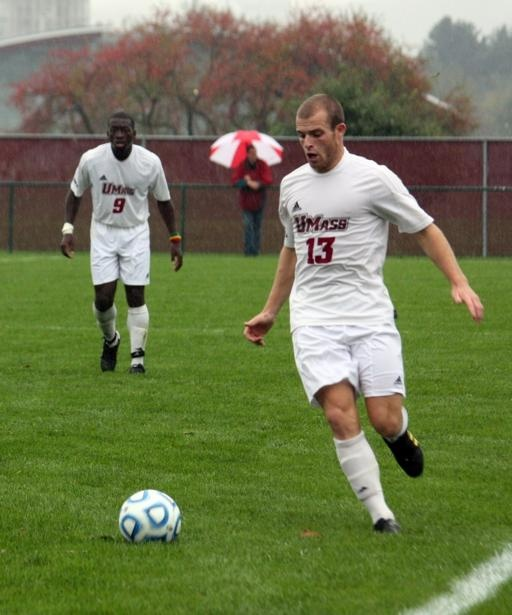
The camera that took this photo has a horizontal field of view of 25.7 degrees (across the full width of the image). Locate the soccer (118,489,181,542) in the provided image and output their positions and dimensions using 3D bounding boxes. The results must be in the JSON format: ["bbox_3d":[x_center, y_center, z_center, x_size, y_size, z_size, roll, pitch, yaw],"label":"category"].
[{"bbox_3d":[-0.422,0.807,4.457,0.183,0.208,0.194,-14,48,-28],"label":"soccer"}]

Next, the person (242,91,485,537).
[{"bbox_3d":[0.431,-0.020,4.880,0.613,1.778,1.067,-6,11,-37],"label":"person"}]

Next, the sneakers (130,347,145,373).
[{"bbox_3d":[-0.810,0.363,7.671,0.098,0.153,0.160,-1,9,-7],"label":"sneakers"}]

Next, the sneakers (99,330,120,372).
[{"bbox_3d":[-1.015,0.320,7.817,0.088,0.334,0.126,3,10,3],"label":"sneakers"}]

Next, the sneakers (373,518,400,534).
[{"bbox_3d":[0.517,0.879,4.526,0.102,0.044,0.085,1,10,9],"label":"sneakers"}]

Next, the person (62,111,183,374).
[{"bbox_3d":[-0.940,-0.449,7.802,0.827,1.794,0.663,-1,8,-6],"label":"person"}]
